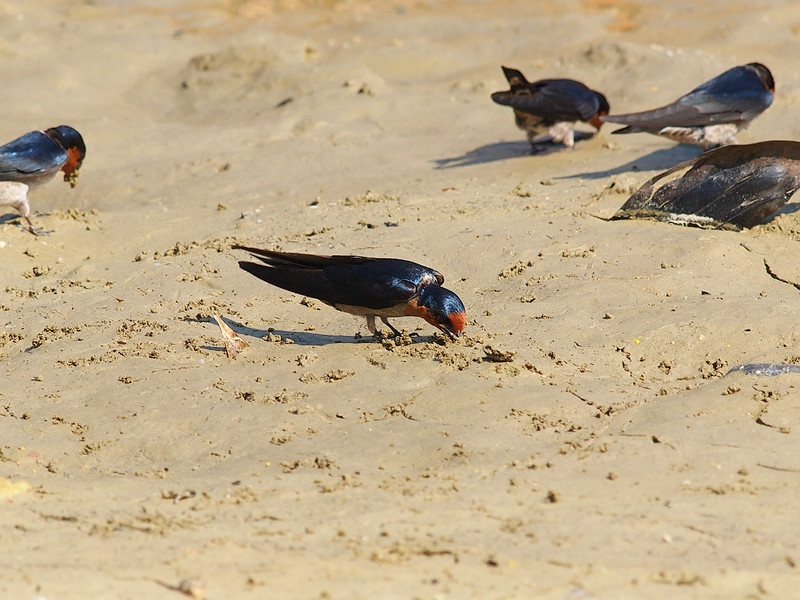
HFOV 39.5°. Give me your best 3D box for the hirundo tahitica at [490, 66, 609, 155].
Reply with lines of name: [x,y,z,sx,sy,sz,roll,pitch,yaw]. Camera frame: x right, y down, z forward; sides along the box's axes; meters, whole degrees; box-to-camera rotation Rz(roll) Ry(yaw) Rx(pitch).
hirundo tahitica: [2.015,-2.581,15.248,1.408,1.027,0.973,4,52,13]

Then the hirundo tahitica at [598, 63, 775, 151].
hirundo tahitica: [4.275,-2.373,13.693,3.513,0.798,0.915,1,91,-16]

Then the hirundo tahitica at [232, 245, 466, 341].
hirundo tahitica: [-0.264,-0.083,10.317,1.980,0.758,0.686,20,58,26]
